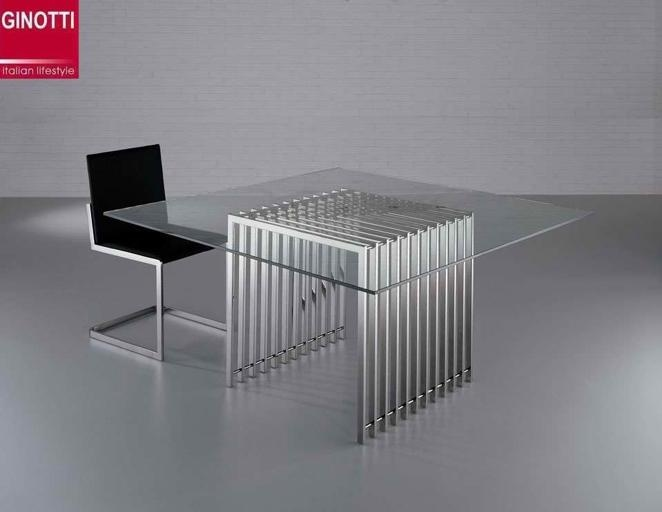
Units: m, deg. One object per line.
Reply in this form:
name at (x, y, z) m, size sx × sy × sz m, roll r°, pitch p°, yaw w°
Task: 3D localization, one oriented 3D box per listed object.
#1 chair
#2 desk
chair at (-1.282, -0.031, 3.968) m, size 0.868 × 0.871 × 1.163 m, roll -17°, pitch -73°, yaw -18°
desk at (0.028, 0.037, 3.184) m, size 1.710 × 1.723 × 0.971 m, roll -23°, pitch -60°, yaw -47°
